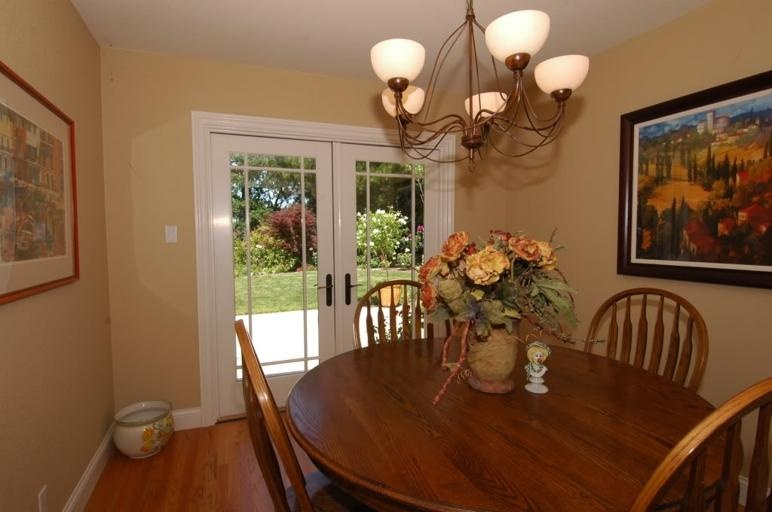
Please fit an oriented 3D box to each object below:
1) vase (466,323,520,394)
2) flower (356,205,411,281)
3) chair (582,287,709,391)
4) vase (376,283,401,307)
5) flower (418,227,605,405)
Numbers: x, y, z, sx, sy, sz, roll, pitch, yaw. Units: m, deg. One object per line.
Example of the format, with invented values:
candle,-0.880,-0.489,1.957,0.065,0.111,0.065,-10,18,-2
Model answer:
vase,0.544,0.516,2.588,0.305,0.348,0.308,2,-1,15
flower,-0.042,-0.132,4.480,0.680,0.822,0.553,-1,6,3
chair,1.616,0.506,2.992,0.562,0.862,0.579,1,-16,45
vase,0.034,0.300,3.978,0.205,0.157,0.204,3,6,14
flower,0.657,0.245,2.678,0.915,0.874,0.823,-2,-2,27
